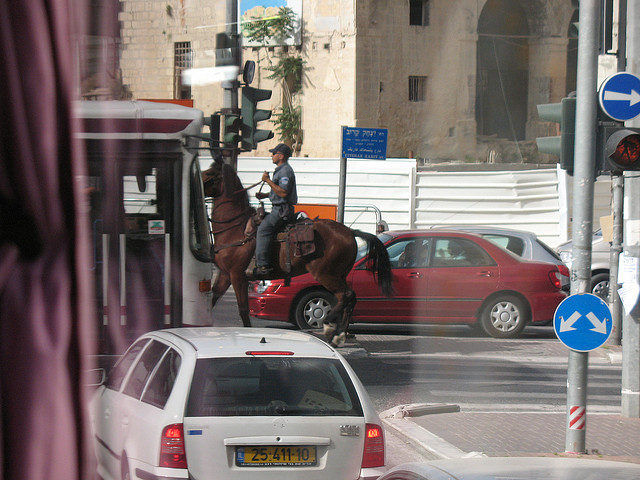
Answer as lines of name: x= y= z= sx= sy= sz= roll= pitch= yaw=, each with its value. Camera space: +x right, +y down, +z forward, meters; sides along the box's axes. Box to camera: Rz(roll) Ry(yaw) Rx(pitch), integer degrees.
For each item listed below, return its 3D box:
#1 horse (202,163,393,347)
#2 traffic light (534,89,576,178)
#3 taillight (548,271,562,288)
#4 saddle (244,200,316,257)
horse: x=-0.442 y=0.216 z=18.090 sx=3.077 sy=2.321 sz=0.785 roll=3 pitch=4 yaw=19
traffic light: x=2.411 y=-1.070 z=13.604 sx=0.416 sy=0.748 sz=0.251 roll=2 pitch=7 yaw=13
taillight: x=3.523 y=0.590 z=19.947 sx=0.091 sy=0.220 sz=0.239 roll=-16 pitch=18 yaw=9
saddle: x=-0.513 y=-0.118 z=17.856 sx=0.968 sy=0.624 sz=0.469 roll=8 pitch=2 yaw=-1
